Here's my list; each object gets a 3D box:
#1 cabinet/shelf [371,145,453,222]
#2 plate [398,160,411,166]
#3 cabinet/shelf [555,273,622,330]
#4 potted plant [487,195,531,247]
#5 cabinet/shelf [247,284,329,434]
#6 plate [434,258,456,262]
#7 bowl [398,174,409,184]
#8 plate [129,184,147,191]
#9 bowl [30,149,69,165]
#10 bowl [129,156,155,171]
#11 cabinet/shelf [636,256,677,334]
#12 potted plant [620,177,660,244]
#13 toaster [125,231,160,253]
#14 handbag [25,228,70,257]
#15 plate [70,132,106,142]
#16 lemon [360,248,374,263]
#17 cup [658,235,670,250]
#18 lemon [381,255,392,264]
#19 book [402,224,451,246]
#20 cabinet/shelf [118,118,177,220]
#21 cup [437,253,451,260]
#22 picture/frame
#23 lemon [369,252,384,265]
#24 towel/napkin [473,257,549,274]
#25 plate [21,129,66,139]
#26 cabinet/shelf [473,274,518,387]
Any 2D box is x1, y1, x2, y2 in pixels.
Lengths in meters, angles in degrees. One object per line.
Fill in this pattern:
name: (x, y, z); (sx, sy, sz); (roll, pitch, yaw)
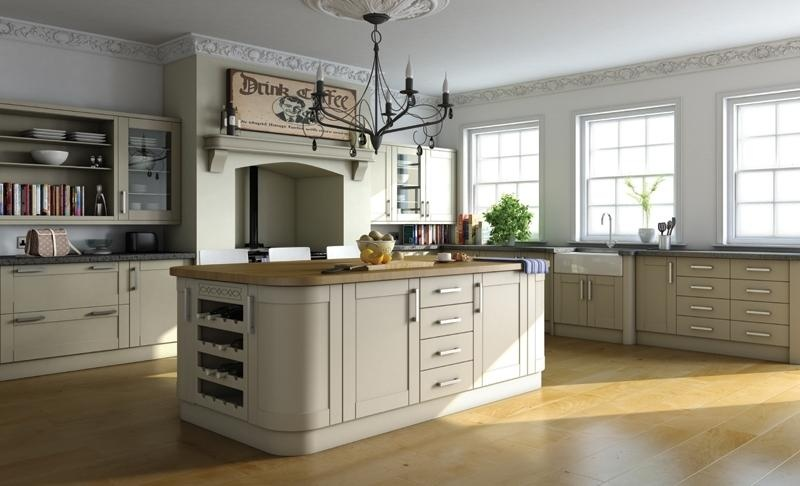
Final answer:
cabinet/shelf: (0.135, -0.921, 8.407); (1.452, 0.928, 0.463); (1, -3, -42)
plate: (0.065, -1.268, 8.420); (0.143, 0.039, 0.132); (-1, -2, -3)
cabinet/shelf: (2.559, 0.780, 7.224); (0.899, 0.665, 0.403); (-1, -3, 37)
potted plant: (1.658, -0.344, 8.226); (0.760, 0.812, 0.853); (-2, -3, 41)
cabinet/shelf: (-0.822, 0.868, 4.069); (0.594, 1.061, 0.213); (-1, 8, -8)
plate: (0.429, 0.167, 5.170); (0.186, 0.025, 0.188); (0, 7, 1)
bowl: (0.060, -1.001, 8.417); (0.152, 0.095, 0.148); (-1, -2, 0)
plate: (-3.144, -0.668, 6.486); (0.113, 0.043, 0.094); (-1, -2, 12)
bowl: (-3.966, -0.963, 6.112); (0.328, 0.167, 0.103); (-4, 9, -30)
bowl: (-3.107, -0.961, 6.484); (0.198, 0.105, 0.168); (-1, -1, 20)
cabinet/shelf: (3.258, 0.648, 6.869); (0.474, 0.958, 0.156); (4, 9, 25)
potted plant: (3.353, -0.469, 7.512); (0.504, 0.888, 0.435); (4, 9, 25)
toaster: (-3.124, 0.005, 6.648); (0.246, 0.349, 0.454); (-2, -1, 36)
handbag: (-3.836, 0.040, 5.964); (0.342, 0.335, 0.422); (-3, -5, 36)
plate: (-3.602, -1.216, 6.238); (0.215, 0.056, 0.199); (0, -1, -7)
lemon: (-0.256, 0.118, 4.667); (0.126, 0.109, 0.134); (5, -22, 5)
cup: (3.512, -0.010, 7.168); (0.124, 0.192, 0.202); (2, 8, 18)
lemon: (-0.114, 0.145, 4.679); (0.076, 0.044, 0.070); (-3, 0, 41)
book: (0.395, -0.138, 8.803); (0.413, 0.343, 0.127); (1, 0, -36)
cabinet/shelf: (-3.025, -0.878, 6.532); (0.716, 1.259, 0.224); (-4, 9, -25)
cup: (0.416, 0.130, 5.200); (0.089, 0.045, 0.075); (-3, -1, 18)
picture/frame: (-1.474, -1.765, 6.912); (1.659, 0.577, 0.060); (1, -3, -39)
lemon: (-0.198, 0.135, 4.610); (0.102, 0.056, 0.098); (4, -3, -35)
towel/napkin: (1.100, 0.226, 5.300); (0.684, 0.164, 0.333); (-1, 7, -6)
plate: (-3.984, -1.220, 6.056); (0.227, 0.065, 0.210); (-1, -1, -2)
cabinet/shelf: (0.918, 0.785, 5.023); (0.629, 1.009, 0.181); (-7, 11, -42)
